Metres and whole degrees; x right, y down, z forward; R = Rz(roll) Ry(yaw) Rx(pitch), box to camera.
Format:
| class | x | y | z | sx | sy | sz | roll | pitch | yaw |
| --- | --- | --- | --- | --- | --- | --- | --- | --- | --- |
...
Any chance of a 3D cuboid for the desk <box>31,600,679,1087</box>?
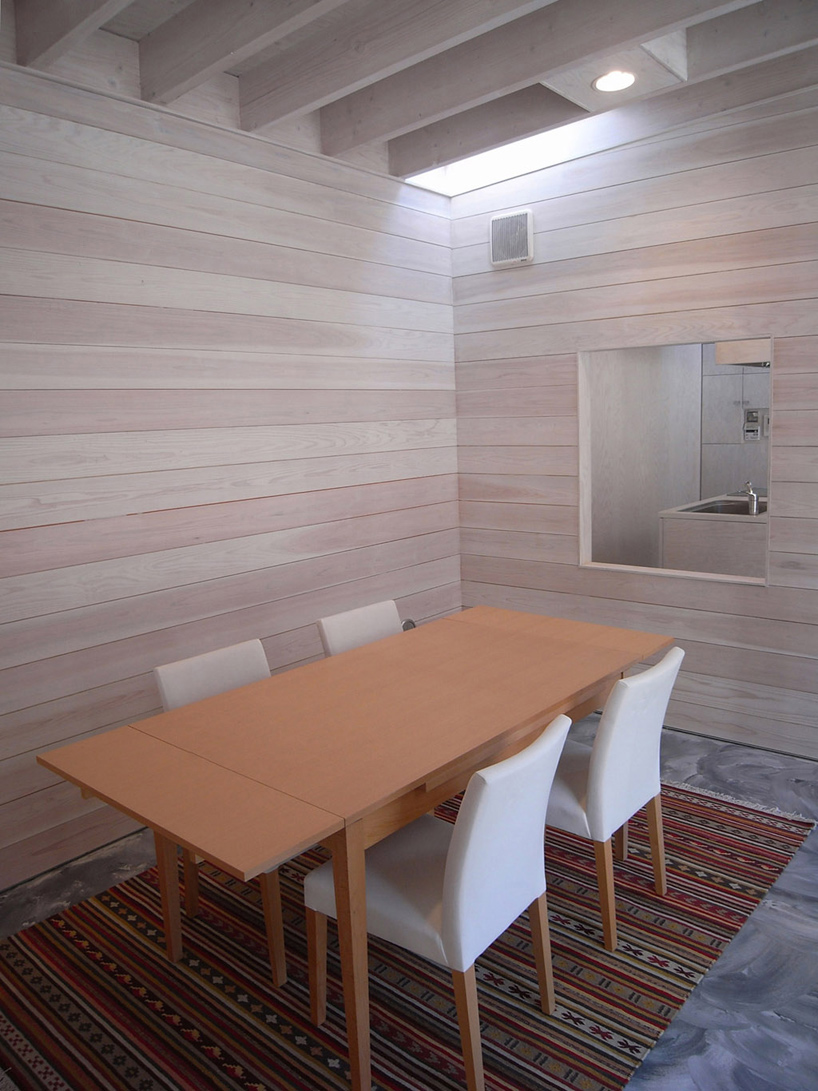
| class | x | y | z | sx | sy | sz | roll | pitch | yaw |
| --- | --- | --- | --- | --- | --- | --- | --- | --- | --- |
| desk | -0.077 | 0.707 | 2.043 | 0.796 | 0.661 | 1.550 | 3 | 9 | 37 |
